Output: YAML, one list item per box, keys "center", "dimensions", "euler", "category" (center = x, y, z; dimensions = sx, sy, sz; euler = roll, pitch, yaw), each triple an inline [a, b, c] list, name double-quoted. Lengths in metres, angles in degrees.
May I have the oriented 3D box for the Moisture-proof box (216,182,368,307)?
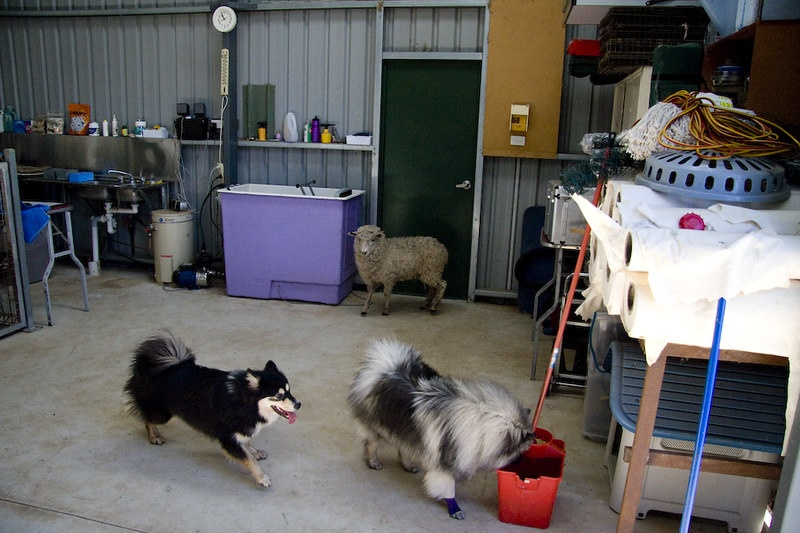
- center: [-1.339, -0.308, 7.136]
  dimensions: [1.586, 1.335, 0.958]
  euler: [6, 14, 4]
  category: "Moisture-proof box"

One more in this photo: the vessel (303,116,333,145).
- center: [-1.041, -1.712, 7.255]
  dimensions: [0.424, 0.339, 0.213]
  euler: [6, 12, 21]
  category: "vessel"

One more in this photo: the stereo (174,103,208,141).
- center: [-2.703, -1.878, 7.523]
  dimensions: [0.420, 0.516, 0.266]
  euler: [3, 12, 6]
  category: "stereo"

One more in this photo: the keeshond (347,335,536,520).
- center: [0.233, 0.993, 3.695]
  dimensions: [1.152, 0.861, 0.424]
  euler: [10, 14, 36]
  category: "keeshond"

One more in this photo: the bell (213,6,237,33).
- center: [-2.138, -3.001, 7.018]
  dimensions: [0.313, 0.303, 0.135]
  euler: [2, 11, 3]
  category: "bell"

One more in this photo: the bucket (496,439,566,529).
- center: [0.865, 1.371, 3.787]
  dimensions: [0.361, 0.369, 0.555]
  euler: [1, 5, 17]
  category: "bucket"

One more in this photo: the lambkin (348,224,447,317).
- center: [0.002, -0.072, 6.537]
  dimensions: [0.962, 1.119, 0.894]
  euler: [12, 19, 24]
  category: "lambkin"
